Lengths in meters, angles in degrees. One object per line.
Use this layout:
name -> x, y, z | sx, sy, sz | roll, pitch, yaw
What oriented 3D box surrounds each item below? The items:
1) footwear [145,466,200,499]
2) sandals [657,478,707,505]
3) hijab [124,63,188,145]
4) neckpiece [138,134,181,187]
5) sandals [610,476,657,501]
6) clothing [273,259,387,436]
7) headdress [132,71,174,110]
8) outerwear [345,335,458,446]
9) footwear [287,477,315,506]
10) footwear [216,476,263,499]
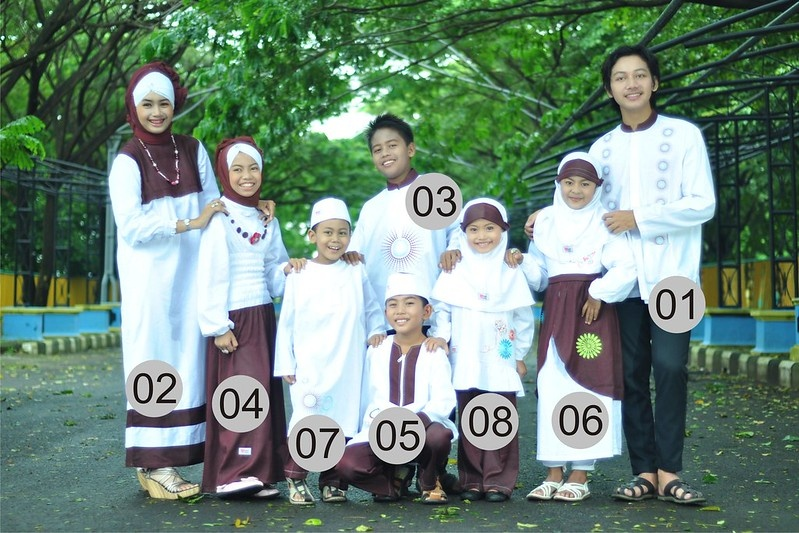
footwear -> -2.430, 2.288, 11.117 | 0.640, 0.250, 0.271 | 1, 0, 17
sandals -> 2.954, 2.331, 10.890 | 0.232, 0.165, 0.409 | 3, -5, -39
hijab -> -2.668, -1.774, 11.456 | 0.739, 0.840, 0.390 | 1, 5, -11
neckpiece -> -2.583, -1.132, 11.326 | 0.351, 0.536, 0.086 | -22, 2, -43
sandals -> 2.479, 2.345, 11.034 | 0.492, 0.192, 0.204 | 4, -8, -25
clothing -> -0.724, 0.834, 11.309 | 1.253, 1.958, 0.479 | -3, 28, -6
headdress -> -2.614, -1.902, 11.169 | 0.339, 0.260, 0.417 | -8, -8, -6
outerwear -> 0.190, 1.281, 11.470 | 1.363, 1.307, 0.999 | 1, -15, 9
footwear -> -1.027, 2.320, 10.957 | 0.256, 0.253, 0.339 | -2, 10, -8
footwear -> -1.650, 2.291, 10.964 | 0.534, 0.213, 0.192 | -15, -34, 3
